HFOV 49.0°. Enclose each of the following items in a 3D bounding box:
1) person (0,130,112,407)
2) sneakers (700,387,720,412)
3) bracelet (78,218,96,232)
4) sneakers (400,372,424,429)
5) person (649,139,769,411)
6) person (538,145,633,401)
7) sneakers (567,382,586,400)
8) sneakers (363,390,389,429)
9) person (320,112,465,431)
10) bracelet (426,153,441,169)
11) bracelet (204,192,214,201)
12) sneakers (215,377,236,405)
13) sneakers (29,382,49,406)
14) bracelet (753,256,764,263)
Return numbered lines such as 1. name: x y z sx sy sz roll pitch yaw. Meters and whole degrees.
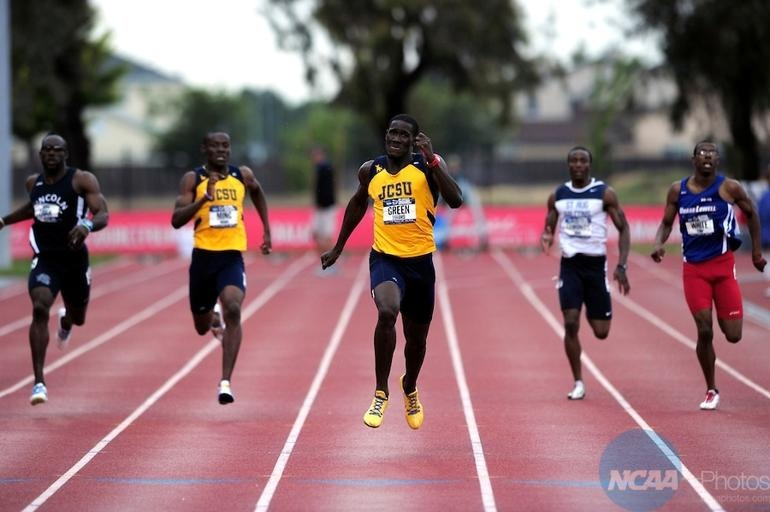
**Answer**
1. person: -3.356 0.173 8.709 0.954 2.817 1.218 -6 13 -24
2. sneakers: 3.328 1.464 8.674 0.176 0.205 0.189 4 13 20
3. bracelet: -2.974 -0.309 8.402 0.107 0.104 0.070 36 31 28
4. sneakers: 0.298 1.370 7.879 0.191 0.567 0.225 -9 2 -12
5. person: 3.355 0.200 8.769 1.069 2.751 0.827 3 12 20
6. person: 2.128 0.208 9.028 0.892 2.714 0.828 3 12 16
7. sneakers: 2.080 1.447 9.133 0.120 0.160 0.250 -1 -1 40
8. sneakers: -0.052 1.342 7.663 0.154 0.203 0.470 24 23 -3
9. person: 0.149 0.156 7.886 0.962 2.914 0.980 -5 12 -22
10. bracelet: 0.440 -0.861 7.567 0.082 0.044 0.117 -17 16 22
11. bracelet: -1.748 -0.599 8.394 0.078 0.095 0.105 -3 12 -10
12. sneakers: -1.619 1.376 8.548 0.126 0.390 0.167 -2 26 1
13. sneakers: -3.467 1.388 8.384 0.155 0.254 0.252 2 55 -10
14. bracelet: 3.843 0.036 8.679 0.062 0.067 0.084 3 -26 10
